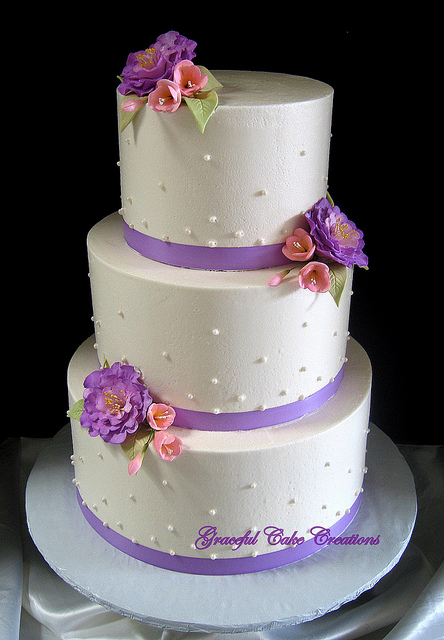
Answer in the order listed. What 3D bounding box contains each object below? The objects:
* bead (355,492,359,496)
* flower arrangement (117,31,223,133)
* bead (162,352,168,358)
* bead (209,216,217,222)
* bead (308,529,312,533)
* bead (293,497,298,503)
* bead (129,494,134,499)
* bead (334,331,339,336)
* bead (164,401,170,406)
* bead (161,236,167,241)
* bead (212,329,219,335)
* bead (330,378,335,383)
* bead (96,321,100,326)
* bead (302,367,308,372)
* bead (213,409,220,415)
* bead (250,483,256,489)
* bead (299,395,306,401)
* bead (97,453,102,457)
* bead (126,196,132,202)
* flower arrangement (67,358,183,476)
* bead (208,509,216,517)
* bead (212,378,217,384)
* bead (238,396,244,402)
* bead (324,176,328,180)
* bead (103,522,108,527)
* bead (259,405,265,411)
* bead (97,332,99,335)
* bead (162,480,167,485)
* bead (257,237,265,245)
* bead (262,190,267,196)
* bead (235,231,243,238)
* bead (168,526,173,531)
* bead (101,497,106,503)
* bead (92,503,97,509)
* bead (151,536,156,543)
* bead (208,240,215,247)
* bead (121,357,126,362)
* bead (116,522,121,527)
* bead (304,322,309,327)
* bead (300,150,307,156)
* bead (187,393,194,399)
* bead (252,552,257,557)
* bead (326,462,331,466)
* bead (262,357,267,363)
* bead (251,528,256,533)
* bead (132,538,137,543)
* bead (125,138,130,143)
[{"bbox_3d":[0.500,0.635,2.322,0.013,0.009,0.012,3,33,3],"label":"bead"},{"bbox_3d":[-0.134,-0.609,1.663,0.367,0.255,0.191,27,41,35],"label":"flower arrangement"},{"bbox_3d":[-0.167,0.098,1.825,0.015,0.010,0.015,1,28,-2],"label":"bead"},{"bbox_3d":[-0.024,-0.274,1.693,0.014,0.010,0.013,-23,62,-22],"label":"bead"},{"bbox_3d":[0.290,0.692,2.078,0.011,0.008,0.010,-2,39,-5],"label":"bead"},{"bbox_3d":[0.231,0.558,1.969,0.016,0.011,0.015,-2,29,-5],"label":"bead"},{"bbox_3d":[-0.288,0.557,2.001,0.015,0.010,0.014,3,27,2],"label":"bead"},{"bbox_3d":[0.369,0.041,2.011,0.014,0.009,0.013,5,41,5],"label":"bead"},{"bbox_3d":[-0.166,0.249,1.907,0.013,0.009,0.013,1,20,-1],"label":"bead"},{"bbox_3d":[-0.165,-0.234,1.795,0.012,0.010,0.011,5,36,1],"label":"bead"},{"bbox_3d":[-0.017,0.031,1.737,0.013,0.009,0.012,1,32,-1],"label":"bead"},{"bbox_3d":[0.365,0.194,2.082,0.013,0.012,0.013,-8,37,-8],"label":"bead"},{"bbox_3d":[-0.411,0.007,2.079,0.013,0.007,0.012,1,34,-2],"label":"bead"},{"bbox_3d":[0.251,0.146,1.905,0.013,0.009,0.013,-1,23,-2],"label":"bead"},{"bbox_3d":[-0.016,0.265,1.844,0.015,0.010,0.014,0,34,-5],"label":"bead"},{"bbox_3d":[0.094,0.489,1.872,0.015,0.010,0.014,-2,23,-5],"label":"bead"},{"bbox_3d":[0.249,0.237,1.949,0.016,0.011,0.015,-4,16,-3],"label":"bead"},{"bbox_3d":[-0.401,0.436,2.056,0.017,0.010,0.016,1,31,-4],"label":"bead"},{"bbox_3d":[-0.282,-0.369,1.908,0.017,0.015,0.016,1,41,0],"label":"bead"},{"bbox_3d":[-0.288,0.288,1.937,0.246,0.153,0.381,-44,62,-13],"label":"flower arrangement"},{"bbox_3d":[-0.029,0.577,1.902,0.019,0.010,0.019,-2,22,-4],"label":"bead"},{"bbox_3d":[-0.021,0.173,1.803,0.013,0.009,0.012,1,26,-3],"label":"bead"},{"bbox_3d":[0.058,0.226,1.835,0.014,0.010,0.013,-6,31,-12],"label":"bead"},{"bbox_3d":[0.317,-0.433,1.915,0.012,0.008,0.011,-2,33,-4],"label":"bead"},{"bbox_3d":[-0.405,0.702,2.183,0.017,0.012,0.016,1,28,-3],"label":"bead"},{"bbox_3d":[0.121,0.260,1.875,0.012,0.011,0.012,5,32,9],"label":"bead"},{"bbox_3d":[-0.419,0.042,2.121,0.007,0.006,0.006,5,39,0],"label":"bead"},{"bbox_3d":[-0.171,0.483,1.884,0.014,0.007,0.013,1,23,0],"label":"bead"},{"bbox_3d":[0.110,-0.223,1.760,0.023,0.020,0.008,-13,35,-22],"label":"bead"},{"bbox_3d":[0.113,-0.343,1.688,0.010,0.007,0.010,-7,39,-5],"label":"bead"},{"bbox_3d":[0.045,-0.235,1.722,0.018,0.022,0.011,8,33,10],"label":"bead"},{"bbox_3d":[-0.161,0.645,1.964,0.017,0.011,0.016,-2,31,-9],"label":"bead"},{"bbox_3d":[-0.403,0.607,2.141,0.016,0.011,0.015,3,31,0],"label":"bead"},{"bbox_3d":[-0.451,0.654,2.224,0.022,0.015,0.022,3,14,2],"label":"bead"},{"bbox_3d":[-0.222,0.700,2.023,0.017,0.012,0.016,0,31,-4],"label":"bead"},{"bbox_3d":[-0.029,-0.211,1.731,0.017,0.023,0.011,-1,33,-4],"label":"bead"},{"bbox_3d":[-0.307,0.119,1.957,0.013,0.008,0.012,1,33,0],"label":"bead"},{"bbox_3d":[-0.347,0.682,2.114,0.017,0.012,0.016,1,29,-1],"label":"bead"},{"bbox_3d":[0.246,0.010,1.838,0.011,0.007,0.010,-1,32,-3],"label":"bead"},{"bbox_3d":[0.223,-0.459,1.724,0.006,0.016,0.029,18,35,24],"label":"bead"},{"bbox_3d":[-0.093,0.221,1.849,0.014,0.016,0.006,-3,7,4],"label":"bead"},{"bbox_3d":[0.104,0.738,1.993,0.015,0.010,0.015,1,23,-1],"label":"bead"},{"bbox_3d":[0.341,0.455,2.014,0.013,0.009,0.012,2,5,19],"label":"bead"},{"bbox_3d":[0.124,0.111,1.801,0.013,0.009,0.013,-5,29,-9],"label":"bead"},{"bbox_3d":[0.098,0.647,1.951,0.012,0.009,0.012,-2,30,-4],"label":"bead"},{"bbox_3d":[-0.290,0.723,2.077,0.017,0.014,0.016,1,30,-2],"label":"bead"},{"bbox_3d":[-0.271,-0.516,1.807,0.015,0.016,0.014,-2,58,1],"label":"bead"}]
